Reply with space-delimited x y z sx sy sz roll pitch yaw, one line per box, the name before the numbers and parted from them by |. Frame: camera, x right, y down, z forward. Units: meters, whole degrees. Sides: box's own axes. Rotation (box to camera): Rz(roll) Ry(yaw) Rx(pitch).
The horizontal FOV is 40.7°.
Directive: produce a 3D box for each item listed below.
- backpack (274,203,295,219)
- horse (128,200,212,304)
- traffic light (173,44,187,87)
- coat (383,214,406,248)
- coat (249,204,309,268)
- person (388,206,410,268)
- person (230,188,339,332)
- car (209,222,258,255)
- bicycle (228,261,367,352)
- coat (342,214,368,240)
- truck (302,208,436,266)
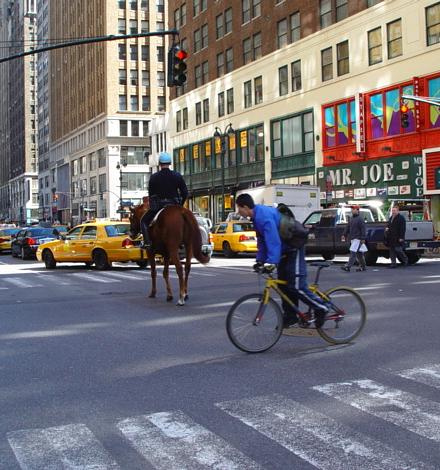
backpack | 0.742 -0.277 6.882 0.139 0.217 0.105 3 -29 -47
horse | -1.242 0.295 12.513 0.688 2.364 2.689 -1 -3 -37
traffic light | -1.156 -4.408 15.642 0.381 1.069 0.373 1 -5 13
coat | 5.741 -0.158 19.558 0.725 0.788 0.528 -1 0 36
coat | 0.668 -0.020 6.763 0.612 0.561 0.353 -1 0 -34
person | 5.862 0.053 19.667 0.575 1.461 0.988 -1 0 17
person | 0.751 0.348 6.931 1.154 1.341 0.544 -1 0 -38
car | 0.620 0.140 28.145 1.008 0.929 2.555 -1 5 -20
bicycle | 0.845 0.825 7.363 1.592 1.285 0.870 -4 1 -20
coat | 4.400 -0.255 19.448 0.280 0.765 0.707 5 3 -34
truck | 5.319 -0.042 22.057 2.965 2.514 5.660 0 3 -35
